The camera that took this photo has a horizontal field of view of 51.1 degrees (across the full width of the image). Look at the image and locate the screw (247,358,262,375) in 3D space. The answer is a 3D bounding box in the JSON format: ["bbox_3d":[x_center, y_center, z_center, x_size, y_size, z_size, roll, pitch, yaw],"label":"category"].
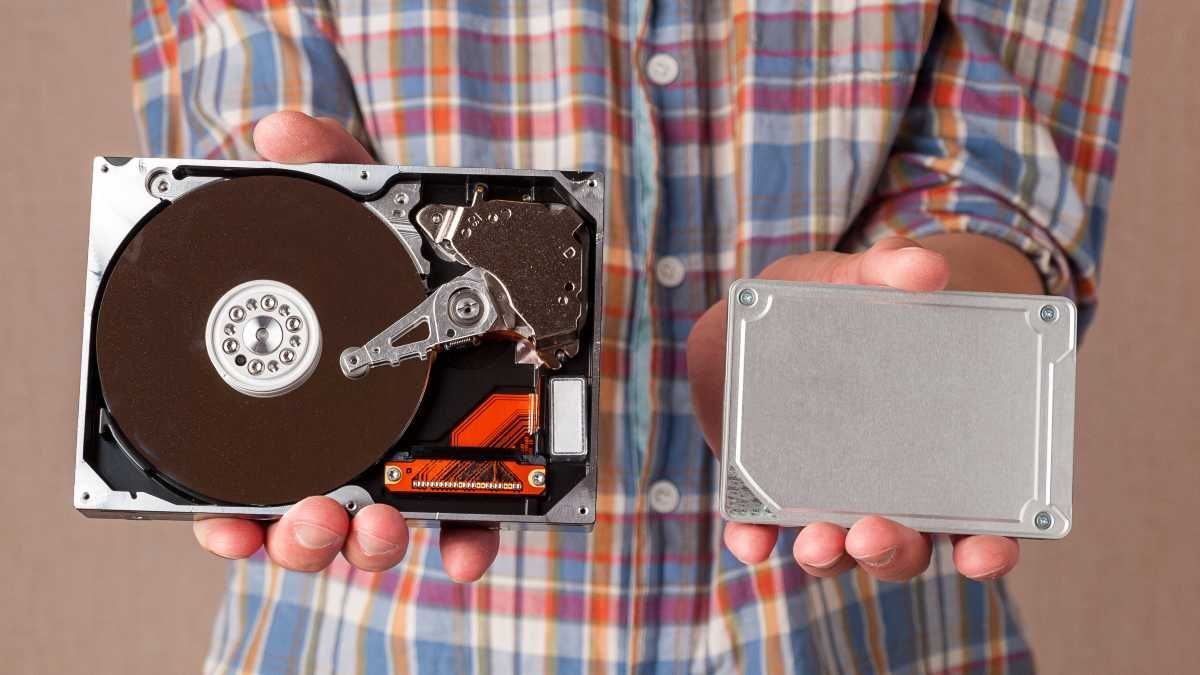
[{"bbox_3d":[-0.808,0.072,2.955,0.037,0.035,0.018,2,-1,-2],"label":"screw"}]

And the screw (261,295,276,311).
[{"bbox_3d":[-0.777,-0.081,2.963,0.034,0.034,0.008,9,-3,-3],"label":"screw"}]
